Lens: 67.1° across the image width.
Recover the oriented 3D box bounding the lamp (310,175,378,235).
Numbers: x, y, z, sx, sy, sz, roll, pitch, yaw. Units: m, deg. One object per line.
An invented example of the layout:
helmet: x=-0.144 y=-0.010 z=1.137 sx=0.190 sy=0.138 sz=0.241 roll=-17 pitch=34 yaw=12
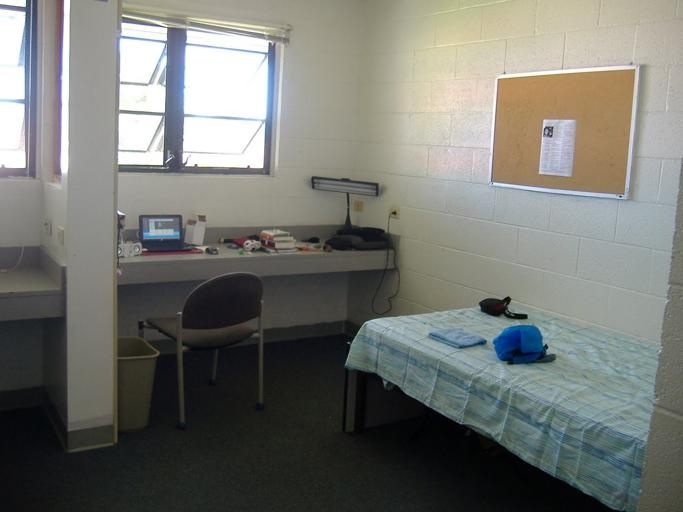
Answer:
lamp: x=0.058 y=-0.446 z=4.606 sx=0.598 sy=0.500 sz=0.188 roll=9 pitch=18 yaw=16

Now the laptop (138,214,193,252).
laptop: x=-1.310 y=-0.185 z=3.820 sx=0.354 sy=0.244 sz=0.290 roll=-2 pitch=4 yaw=-29

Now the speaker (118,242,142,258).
speaker: x=-1.476 y=-0.050 z=3.604 sx=0.049 sy=0.077 sz=0.129 roll=-3 pitch=0 yaw=43

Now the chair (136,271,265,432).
chair: x=-0.818 y=0.520 z=3.290 sx=0.657 sy=0.942 sz=0.443 roll=-5 pitch=15 yaw=-32

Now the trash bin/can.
trash bin/can: x=-1.247 y=0.771 z=3.169 sx=0.231 sy=0.458 sz=0.367 roll=-2 pitch=13 yaw=-21

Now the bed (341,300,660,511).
bed: x=0.966 y=0.651 z=2.736 sx=1.049 sy=0.321 sz=1.497 roll=-8 pitch=17 yaw=-41
